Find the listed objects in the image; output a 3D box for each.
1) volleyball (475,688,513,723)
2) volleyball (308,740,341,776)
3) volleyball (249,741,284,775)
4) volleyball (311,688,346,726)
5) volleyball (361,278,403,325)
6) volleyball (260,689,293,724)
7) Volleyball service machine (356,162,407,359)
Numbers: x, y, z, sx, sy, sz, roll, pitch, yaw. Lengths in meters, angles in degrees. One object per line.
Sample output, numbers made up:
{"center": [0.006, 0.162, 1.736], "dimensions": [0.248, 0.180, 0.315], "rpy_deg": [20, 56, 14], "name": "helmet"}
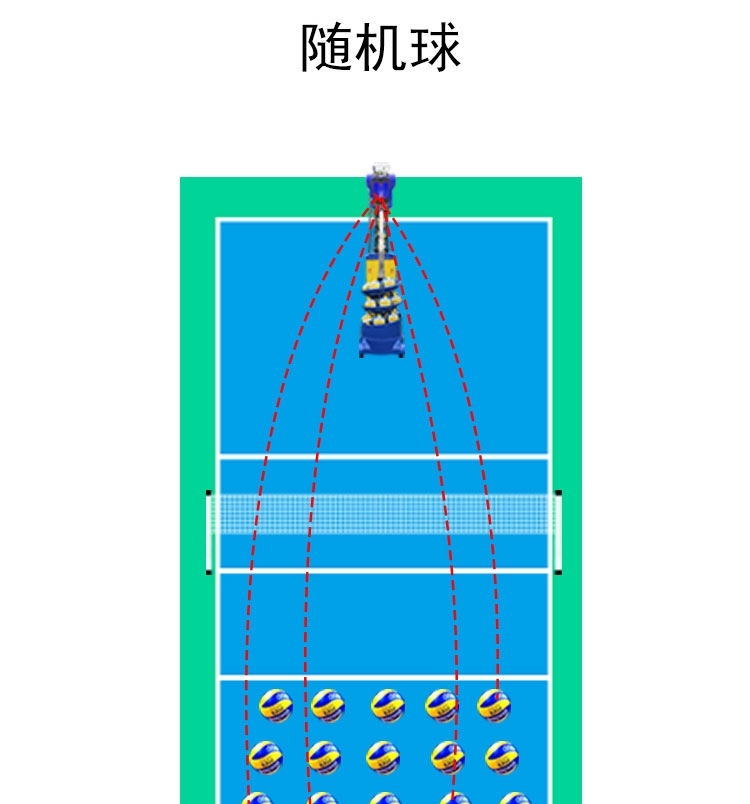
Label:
{"center": [0.650, 1.682, 9.557], "dimensions": [0.145, 0.237, 0.165], "rpy_deg": [-1, 4, 11], "name": "volleyball"}
{"center": [-0.292, 2.002, 9.552], "dimensions": [0.141, 0.188, 0.096], "rpy_deg": [-6, -14, -9], "name": "volleyball"}
{"center": [-0.624, 1.995, 9.594], "dimensions": [0.139, 0.198, 0.092], "rpy_deg": [-5, -1, -2], "name": "volleyball"}
{"center": [-0.263, 1.707, 9.510], "dimensions": [0.145, 0.200, 0.093], "rpy_deg": [-7, 0, -11], "name": "volleyball"}
{"center": [0.029, -0.534, 9.214], "dimensions": [0.182, 0.291, 0.220], "rpy_deg": [0, -3, -9], "name": "volleyball"}
{"center": [-0.557, 1.705, 9.579], "dimensions": [0.143, 0.165, 0.190], "rpy_deg": [22, 41, -15], "name": "volleyball"}
{"center": [0.034, -0.767, 9.287], "dimensions": [0.247, 1.066, 0.265], "rpy_deg": [-1, -1, -6], "name": "Volleyball service machine"}
